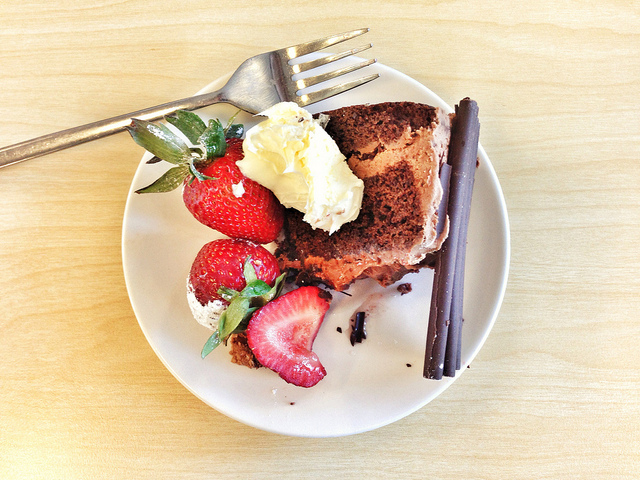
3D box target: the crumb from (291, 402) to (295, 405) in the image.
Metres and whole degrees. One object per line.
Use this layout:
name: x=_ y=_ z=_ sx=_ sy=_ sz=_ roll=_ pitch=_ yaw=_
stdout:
crumb: x=-0.096 y=0.568 z=2.360 sx=0.012 sy=0.001 sz=0.007 roll=-6 pitch=83 yaw=1

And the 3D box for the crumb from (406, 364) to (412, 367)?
crumb: x=0.314 y=0.439 z=2.375 sx=0.015 sy=0.003 sz=0.009 roll=1 pitch=83 yaw=2

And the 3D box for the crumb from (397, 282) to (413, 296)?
crumb: x=0.307 y=0.172 z=2.418 sx=0.055 sy=0.013 sz=0.039 roll=-27 pitch=83 yaw=-2

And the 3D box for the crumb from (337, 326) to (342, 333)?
crumb: x=0.068 y=0.321 z=2.426 sx=0.030 sy=0.007 sz=0.020 roll=6 pitch=82 yaw=0
